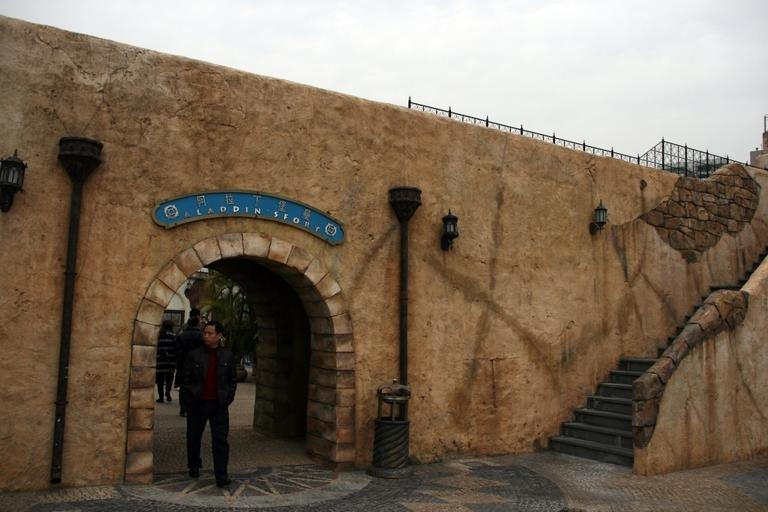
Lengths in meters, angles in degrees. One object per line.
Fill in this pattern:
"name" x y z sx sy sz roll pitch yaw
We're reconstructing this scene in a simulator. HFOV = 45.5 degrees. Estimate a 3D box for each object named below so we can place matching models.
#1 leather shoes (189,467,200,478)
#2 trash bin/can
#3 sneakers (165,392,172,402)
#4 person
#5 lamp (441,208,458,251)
"leather shoes" -2.760 3.164 13.417 0.108 0.160 0.170 3 -1 -6
"trash bin/can" 0.110 2.626 14.024 0.628 1.335 0.819 3 9 0
"sneakers" -4.227 2.780 17.961 0.091 0.239 0.163 -1 18 -5
"person" -2.532 2.108 13.110 0.790 2.279 0.501 4 9 7
"lamp" 1.078 -0.365 14.958 0.283 0.591 0.310 1 9 -13
